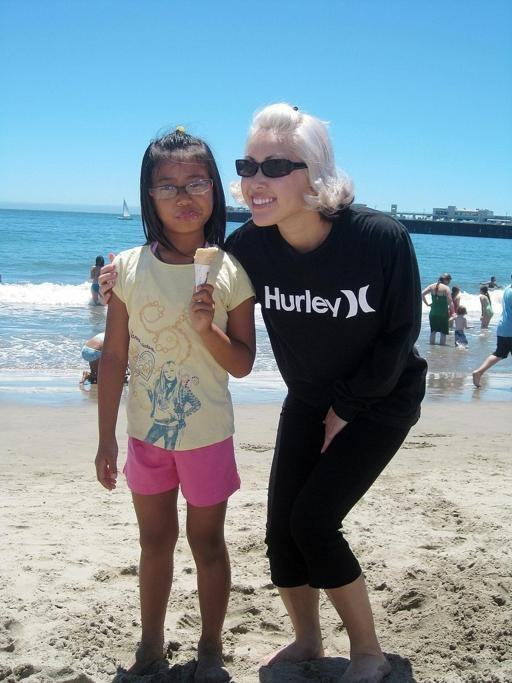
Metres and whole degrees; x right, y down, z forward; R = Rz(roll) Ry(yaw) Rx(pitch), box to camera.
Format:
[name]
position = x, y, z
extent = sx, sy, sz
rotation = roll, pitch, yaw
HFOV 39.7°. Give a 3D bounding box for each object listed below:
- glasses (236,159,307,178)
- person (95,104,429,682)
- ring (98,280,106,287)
[glasses]
position = 0.041, -0.656, 2.708
extent = 0.285, 0.086, 0.093
rotation = 4, 6, 29
[person]
position = 0.239, 0.200, 2.726
extent = 0.755, 2.209, 0.609
rotation = 4, 6, 17
[ring]
position = -0.614, -0.232, 2.849
extent = 0.028, 0.023, 0.025
rotation = 5, -6, -35
